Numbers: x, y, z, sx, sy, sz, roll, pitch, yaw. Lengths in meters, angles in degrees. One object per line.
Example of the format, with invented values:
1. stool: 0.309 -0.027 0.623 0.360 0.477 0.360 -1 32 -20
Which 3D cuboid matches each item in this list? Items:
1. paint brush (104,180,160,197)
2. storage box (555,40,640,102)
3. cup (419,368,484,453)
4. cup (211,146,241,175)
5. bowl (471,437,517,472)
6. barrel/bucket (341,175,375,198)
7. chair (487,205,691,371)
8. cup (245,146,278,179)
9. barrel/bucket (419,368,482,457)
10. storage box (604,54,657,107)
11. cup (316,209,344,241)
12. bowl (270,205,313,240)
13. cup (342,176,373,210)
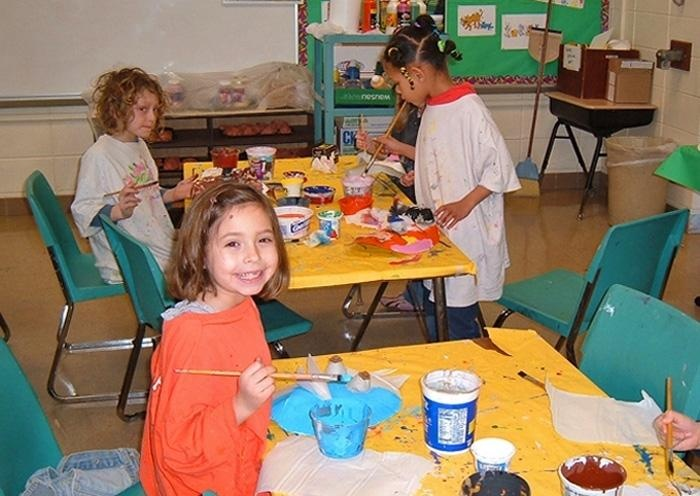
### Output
1. paint brush: -1.076 -0.297 2.815 0.249 0.041 0.037 -16 55 7
2. storage box: 2.198 -1.572 5.253 0.609 0.383 0.608 -4 24 -13
3. cup: 0.214 0.382 1.378 0.169 0.179 0.170 -1 27 1
4. cup: -0.668 -0.454 3.134 0.177 0.173 0.164 2 29 -1
5. bowl: 0.322 0.448 1.261 0.079 0.038 0.078 -3 20 1
6. barrel/bucket: 0.047 -0.319 2.826 0.106 0.099 0.107 0 21 0
7. chair: 1.085 0.169 2.627 0.502 0.855 0.623 -23 43 -29
8. cup: -0.474 -0.476 3.132 0.172 0.166 0.179 0 22 0
9. barrel/bucket: 0.214 0.388 1.413 0.170 0.181 0.170 -1 27 1
10. storage box: 2.413 -1.452 4.960 0.351 0.401 0.225 4 21 20
11. cup: -0.074 -0.100 2.429 0.110 0.105 0.110 -1 24 0
12. bowl: -0.240 -0.100 2.421 0.190 0.114 0.194 -4 18 1
13. cup: 0.035 -0.266 2.733 0.147 0.159 0.163 -1 21 -2
